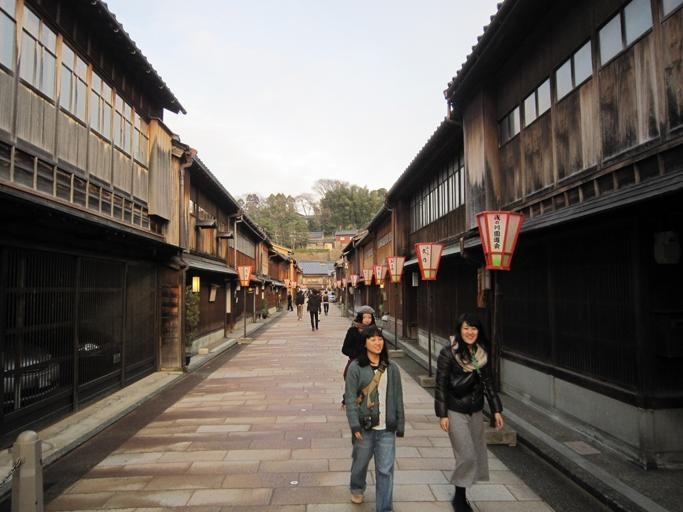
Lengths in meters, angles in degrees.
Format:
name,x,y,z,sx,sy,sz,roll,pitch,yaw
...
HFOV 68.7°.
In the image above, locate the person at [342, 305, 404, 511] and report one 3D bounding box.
name,x,y,z,sx,sy,sz,roll,pitch,yaw
person,0.410,2.062,6.366,0.736,2.352,0.533,0,2,3
